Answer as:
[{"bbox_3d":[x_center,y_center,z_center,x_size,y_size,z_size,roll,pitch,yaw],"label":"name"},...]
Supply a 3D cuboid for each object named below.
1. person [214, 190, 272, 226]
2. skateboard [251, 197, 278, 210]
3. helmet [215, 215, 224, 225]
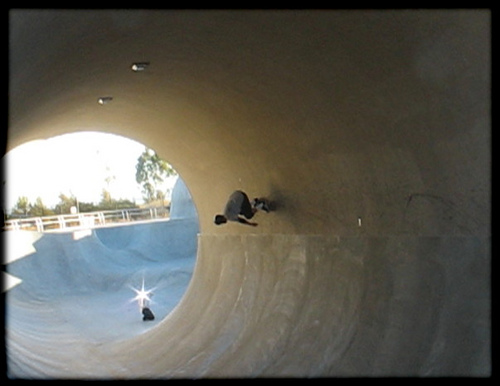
[{"bbox_3d":[-0.114,0.300,8.652,0.569,0.720,1.276,0,4,31],"label":"person"},{"bbox_3d":[0.343,0.260,9.016,0.400,0.137,0.241,24,16,-17],"label":"skateboard"},{"bbox_3d":[-0.586,0.507,8.360,0.161,0.174,0.175,-3,4,-7],"label":"helmet"}]
